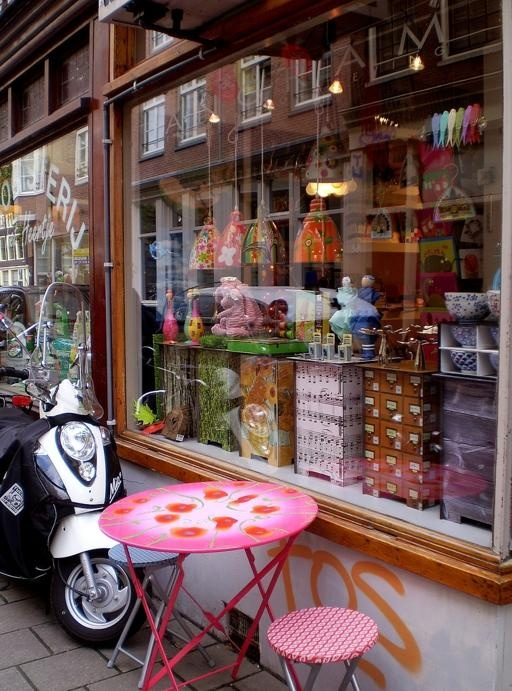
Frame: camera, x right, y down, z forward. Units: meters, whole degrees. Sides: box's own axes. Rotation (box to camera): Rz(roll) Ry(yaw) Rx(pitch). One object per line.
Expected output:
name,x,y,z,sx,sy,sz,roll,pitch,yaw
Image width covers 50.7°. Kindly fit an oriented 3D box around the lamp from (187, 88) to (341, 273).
lamp,0.068,-0.889,2.863,0.297,0.959,0.957,-8,12,-44
